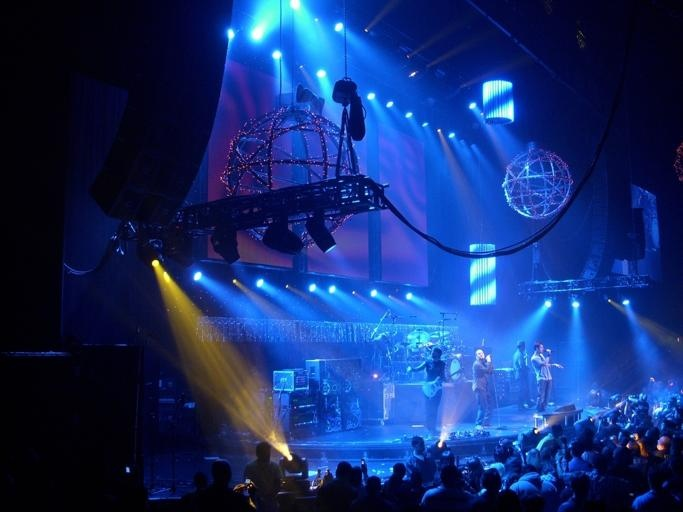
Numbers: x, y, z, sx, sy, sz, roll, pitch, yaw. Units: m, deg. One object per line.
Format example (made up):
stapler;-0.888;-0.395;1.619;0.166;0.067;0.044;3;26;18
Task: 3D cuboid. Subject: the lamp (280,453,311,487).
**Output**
lamp;-0.722;3.312;12.720;0.429;0.547;0.406;0;11;6

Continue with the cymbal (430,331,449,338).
cymbal;2.954;2.329;24.827;0.306;0.167;0.531;0;-1;32

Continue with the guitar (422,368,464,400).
guitar;2.376;2.846;19.300;1.064;0.480;0.165;-30;6;-13

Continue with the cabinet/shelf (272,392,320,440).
cabinet/shelf;-0.999;3.601;19.035;0.540;0.997;1.010;-7;-9;38

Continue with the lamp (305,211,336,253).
lamp;-0.327;-0.428;14.979;0.402;0.758;0.267;-38;-17;21

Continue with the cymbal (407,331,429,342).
cymbal;2.094;2.172;22.328;0.350;0.209;0.362;-2;-1;19

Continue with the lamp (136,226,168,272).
lamp;-3.682;-0.278;16.240;0.544;0.787;0.295;-12;28;1

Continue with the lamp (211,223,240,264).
lamp;-2.234;-0.277;16.006;0.426;0.768;0.513;-43;20;-32
